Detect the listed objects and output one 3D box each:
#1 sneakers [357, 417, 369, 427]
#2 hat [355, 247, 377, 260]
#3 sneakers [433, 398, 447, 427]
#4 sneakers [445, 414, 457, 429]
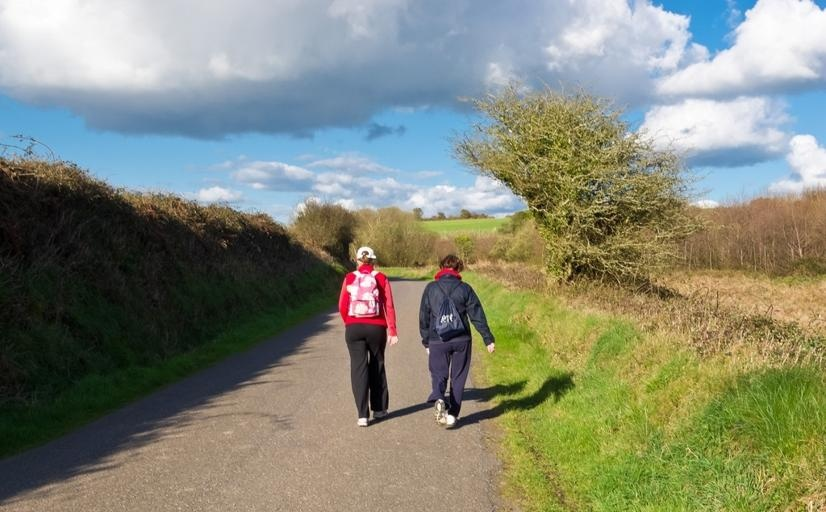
[{"bbox_3d":[-1.035,3.433,12.326,0.264,0.177,0.185,4,7,-13],"label":"sneakers"},{"bbox_3d":[-1.035,-0.060,12.718,0.393,0.225,0.316,-3,3,8],"label":"hat"},{"bbox_3d":[0.558,3.229,12.246,0.212,0.579,0.245,-2,-6,2],"label":"sneakers"},{"bbox_3d":[0.779,3.409,12.251,0.289,0.301,0.228,4,6,-9],"label":"sneakers"}]
